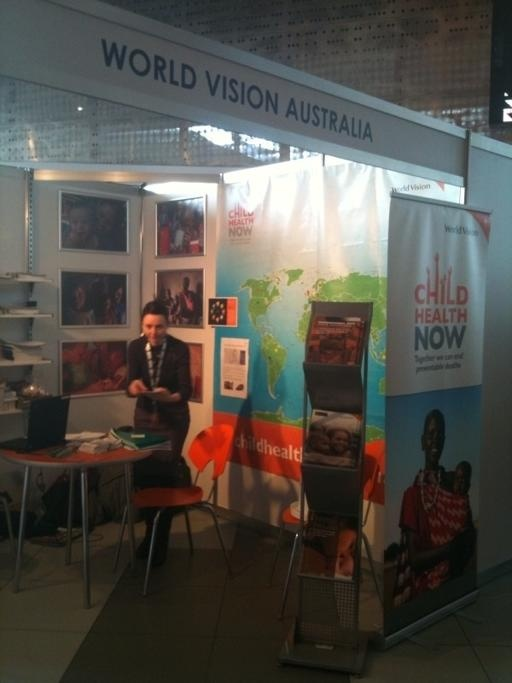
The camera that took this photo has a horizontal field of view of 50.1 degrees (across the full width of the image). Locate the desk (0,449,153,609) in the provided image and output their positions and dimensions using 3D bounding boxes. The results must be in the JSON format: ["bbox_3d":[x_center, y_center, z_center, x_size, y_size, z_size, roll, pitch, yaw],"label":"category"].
[{"bbox_3d":[-1.019,0.911,3.321,0.771,0.826,0.861,2,4,26],"label":"desk"}]

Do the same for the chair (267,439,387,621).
[{"bbox_3d":[0.498,1.146,3.301,0.512,0.753,0.505,-3,-13,0],"label":"chair"}]

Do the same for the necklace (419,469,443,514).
[{"bbox_3d":[0.845,0.715,2.701,0.120,0.222,0.054,5,-3,-35],"label":"necklace"}]

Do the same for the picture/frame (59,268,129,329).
[{"bbox_3d":[-1.233,-0.330,4.241,0.537,0.453,0.027,1,4,2],"label":"picture/frame"}]

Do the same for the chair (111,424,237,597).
[{"bbox_3d":[-0.501,0.996,3.517,0.602,0.912,0.508,4,0,-29],"label":"chair"}]

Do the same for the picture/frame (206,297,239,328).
[{"bbox_3d":[-0.238,-0.218,4.122,0.208,0.178,0.009,5,5,41],"label":"picture/frame"}]

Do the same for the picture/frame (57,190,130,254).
[{"bbox_3d":[-1.239,-0.913,4.154,0.019,0.383,0.490,5,8,40],"label":"picture/frame"}]

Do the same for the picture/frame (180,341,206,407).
[{"bbox_3d":[-0.491,0.233,4.296,0.030,0.635,0.439,-3,7,-38],"label":"picture/frame"}]

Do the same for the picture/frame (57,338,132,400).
[{"bbox_3d":[-1.243,0.208,4.268,0.531,0.452,0.027,-1,1,-34],"label":"picture/frame"}]
